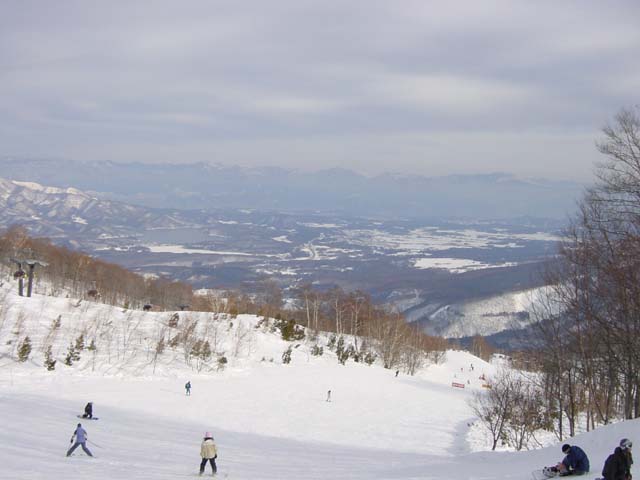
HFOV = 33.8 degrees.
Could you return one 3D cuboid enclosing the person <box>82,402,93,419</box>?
[{"bbox_3d":[-28.272,20.964,127.949,0.630,1.959,0.882,15,-18,42],"label":"person"}]
